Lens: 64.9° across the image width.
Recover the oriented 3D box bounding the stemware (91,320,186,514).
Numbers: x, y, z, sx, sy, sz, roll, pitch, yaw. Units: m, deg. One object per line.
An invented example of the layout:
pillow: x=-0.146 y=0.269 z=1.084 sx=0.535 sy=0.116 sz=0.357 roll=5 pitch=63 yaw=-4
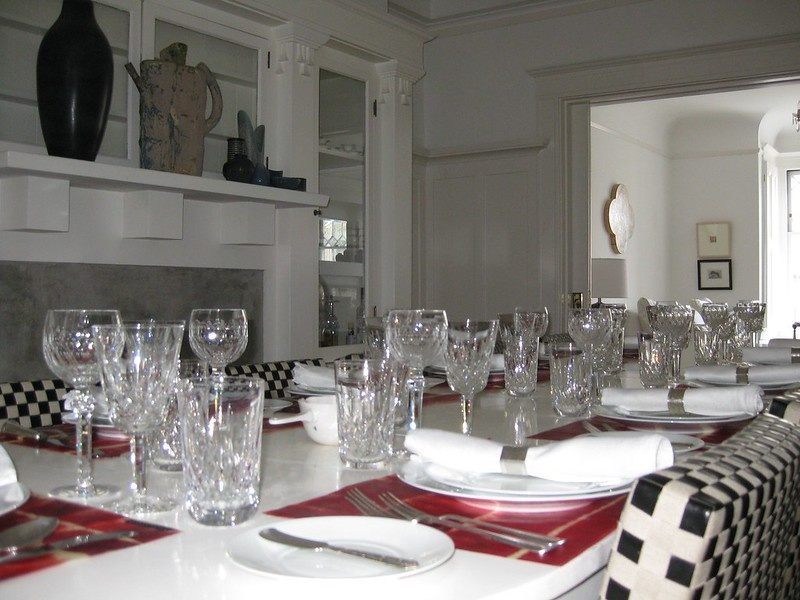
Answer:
stemware: x=-0.370 y=0.165 z=0.894 sx=0.123 sy=0.287 sz=0.145 roll=5 pitch=6 yaw=13

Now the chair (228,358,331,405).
chair: x=-0.400 y=0.293 z=1.980 sx=0.337 sy=0.169 sz=0.120 roll=-5 pitch=4 yaw=-4

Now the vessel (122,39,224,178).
vessel: x=-0.961 y=-0.809 z=2.716 sx=0.383 sy=0.550 sz=0.213 roll=-3 pitch=3 yaw=-25

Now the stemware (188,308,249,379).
stemware: x=-0.397 y=0.102 z=1.381 sx=0.109 sy=0.192 sz=0.115 roll=1 pitch=6 yaw=18

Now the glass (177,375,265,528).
glass: x=-0.224 y=0.183 z=0.794 sx=0.102 sy=0.182 sz=0.107 roll=0 pitch=1 yaw=3
